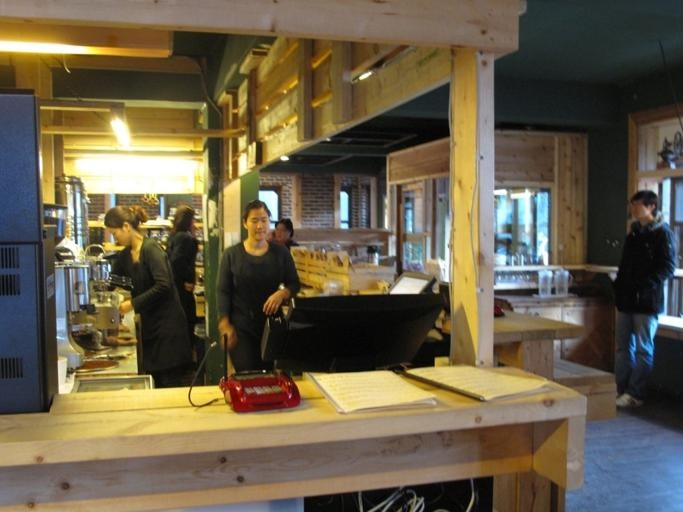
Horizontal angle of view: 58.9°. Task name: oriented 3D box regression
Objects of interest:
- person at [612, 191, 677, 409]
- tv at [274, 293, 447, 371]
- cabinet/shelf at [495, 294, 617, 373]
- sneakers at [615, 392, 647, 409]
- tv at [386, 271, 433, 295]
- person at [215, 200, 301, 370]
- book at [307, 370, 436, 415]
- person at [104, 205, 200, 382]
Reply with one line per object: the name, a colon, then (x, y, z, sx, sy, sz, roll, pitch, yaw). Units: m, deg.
person: (2.641, 0.376, 5.317, 0.460, 1.897, 0.411, 3, 9, 25)
tv: (0.059, 0.296, 2.273, 0.688, 0.323, 0.118, -3, 8, -14)
cabinet/shelf: (1.687, 0.583, 4.728, 0.857, 0.846, 0.364, -1, 2, -13)
sneakers: (2.591, 1.296, 5.417, 0.312, 0.141, 0.116, 4, -6, -5)
tv: (0.377, 0.153, 3.261, 0.130, 0.090, 0.195, -21, 6, -18)
person: (-0.512, 0.187, 3.778, 0.513, 1.038, 0.367, -2, 8, -13)
book: (0.105, 0.468, 2.145, 0.398, 0.045, 0.313, -2, 9, -13)
person: (-1.342, 0.289, 4.261, 0.521, 1.276, 1.166, -4, 9, -21)
